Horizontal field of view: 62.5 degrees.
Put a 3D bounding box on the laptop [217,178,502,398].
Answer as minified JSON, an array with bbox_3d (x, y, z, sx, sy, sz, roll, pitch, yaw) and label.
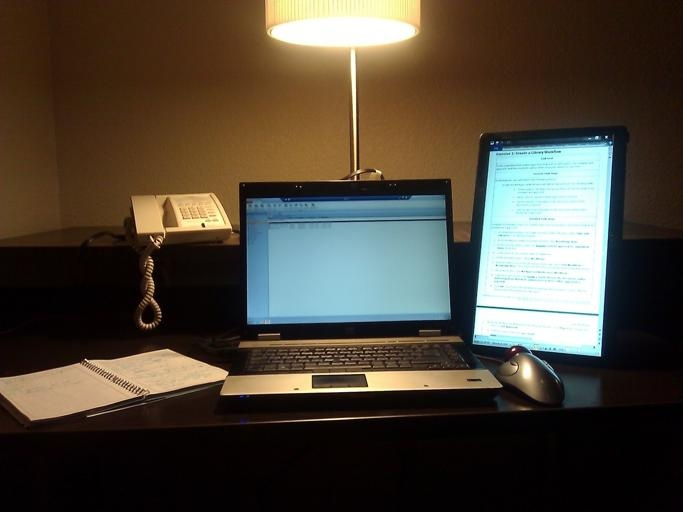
[{"bbox_3d":[0.001,0.034,1.341,0.531,0.424,0.463,-1,14,-2],"label":"laptop"}]

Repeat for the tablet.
[{"bbox_3d":[0.469,-0.028,1.299,0.332,0.528,0.111,3,10,14],"label":"tablet"}]

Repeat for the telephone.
[{"bbox_3d":[-0.445,-0.107,1.528,0.257,0.087,0.226,-2,31,-24],"label":"telephone"}]
